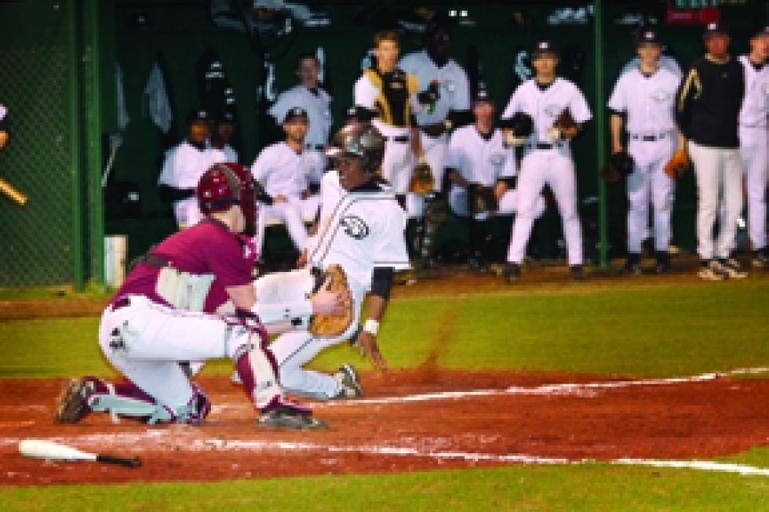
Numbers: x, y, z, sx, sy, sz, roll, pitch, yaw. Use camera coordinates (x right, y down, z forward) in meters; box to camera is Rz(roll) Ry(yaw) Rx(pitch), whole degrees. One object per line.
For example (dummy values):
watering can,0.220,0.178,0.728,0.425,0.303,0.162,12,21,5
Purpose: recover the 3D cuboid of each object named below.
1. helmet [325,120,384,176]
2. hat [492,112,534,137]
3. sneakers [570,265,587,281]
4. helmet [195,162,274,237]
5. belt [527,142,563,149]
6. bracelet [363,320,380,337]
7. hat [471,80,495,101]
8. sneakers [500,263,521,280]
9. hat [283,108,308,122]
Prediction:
helmet,-0.202,-0.877,8.995,0.470,0.360,0.356,-11,13,-12
hat,1.381,-1.380,11.583,0.190,0.268,0.413,-1,8,-29
sneakers,2.042,0.177,11.621,0.152,0.133,0.145,1,1,-15
helmet,-1.230,-0.443,8.453,0.457,0.564,0.566,-10,2,16
belt,1.666,-1.141,11.426,0.333,0.079,0.076,2,7,-1
bracelet,-0.109,0.570,9.002,0.134,0.098,0.132,15,-13,22
hat,1.163,-1.947,13.107,0.318,0.304,0.315,-1,-8,2
sneakers,1.347,0.155,11.719,0.166,0.201,0.260,3,7,2
hat,-0.996,-1.587,12.581,0.215,0.149,0.209,0,-7,10
